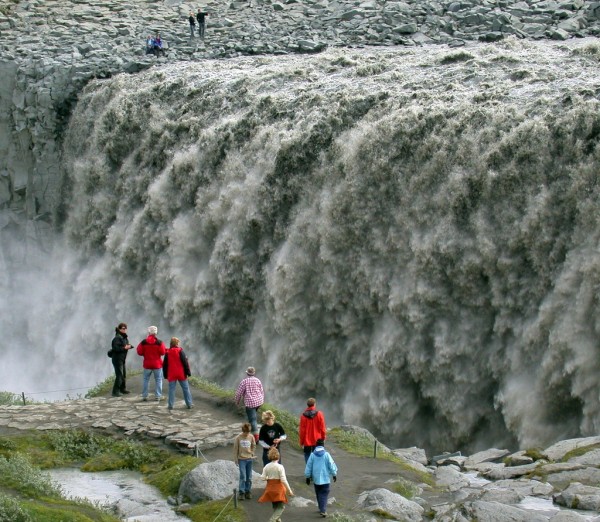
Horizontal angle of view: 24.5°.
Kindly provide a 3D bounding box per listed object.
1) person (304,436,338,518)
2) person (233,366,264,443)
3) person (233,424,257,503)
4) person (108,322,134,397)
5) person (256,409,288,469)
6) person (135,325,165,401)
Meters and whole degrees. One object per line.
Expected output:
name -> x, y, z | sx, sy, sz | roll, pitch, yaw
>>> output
person -> 0.799, 5.419, 35.170 | 0.576, 2.350, 1.147 | 4, -4, -39
person -> -1.264, 3.743, 37.670 | 0.645, 2.250, 0.651 | -1, 1, -25
person -> -1.300, 5.056, 35.297 | 0.482, 1.901, 0.465 | -1, 7, -13
person -> -5.187, 2.949, 41.264 | 0.658, 2.201, 0.688 | 2, 5, 9
person -> -0.615, 4.918, 35.975 | 0.563, 2.122, 0.585 | -7, 24, -12
person -> -4.170, 2.974, 40.618 | 0.698, 2.240, 1.027 | 0, -1, -24
